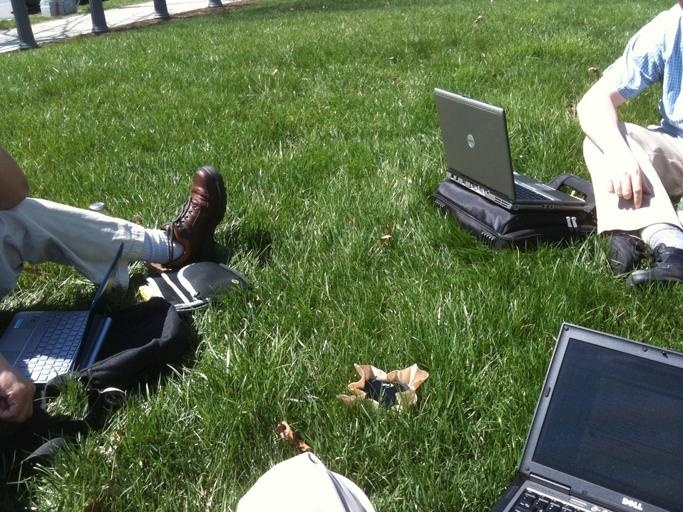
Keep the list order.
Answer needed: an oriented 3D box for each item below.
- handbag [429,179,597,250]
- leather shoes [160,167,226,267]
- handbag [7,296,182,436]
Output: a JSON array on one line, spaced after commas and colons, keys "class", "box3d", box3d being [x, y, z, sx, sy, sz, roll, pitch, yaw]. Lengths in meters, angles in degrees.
[{"class": "handbag", "box3d": [1.068, -0.186, 3.468, 0.518, 0.199, 0.562, 4, 16, -19]}, {"class": "leather shoes", "box3d": [-0.802, -0.225, 3.358, 0.227, 0.717, 0.285, 22, 13, 30]}, {"class": "handbag", "box3d": [-0.994, 0.473, 2.669, 0.607, 0.195, 0.473, -28, 48, -22]}]
